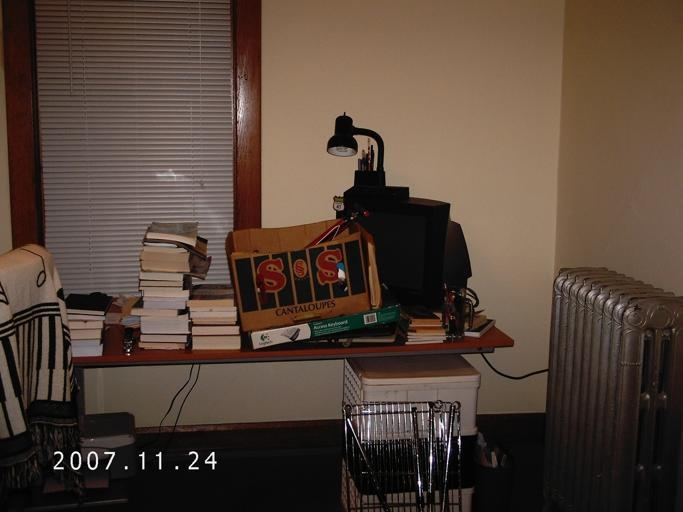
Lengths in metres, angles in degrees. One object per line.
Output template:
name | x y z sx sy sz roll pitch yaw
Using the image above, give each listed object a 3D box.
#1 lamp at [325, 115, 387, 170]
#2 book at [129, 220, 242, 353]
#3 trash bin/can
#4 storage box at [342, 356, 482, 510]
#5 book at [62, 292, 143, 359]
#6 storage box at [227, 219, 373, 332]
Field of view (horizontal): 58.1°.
lamp | 0.083 -0.552 3.205 0.303 0.347 0.150 6 -8 -7
book | -0.711 0.151 2.835 0.423 0.380 0.587 0 1 -2
trash bin/can | -1.189 1.003 3.213 0.231 0.405 0.379 2 -2 -22
storage box | 0.299 0.835 3.168 0.651 0.705 0.694 0 19 -3
book | -1.173 0.296 2.916 0.299 0.112 0.317 4 10 -15
storage box | -0.213 -0.100 2.860 0.643 0.408 0.520 -11 11 -5
